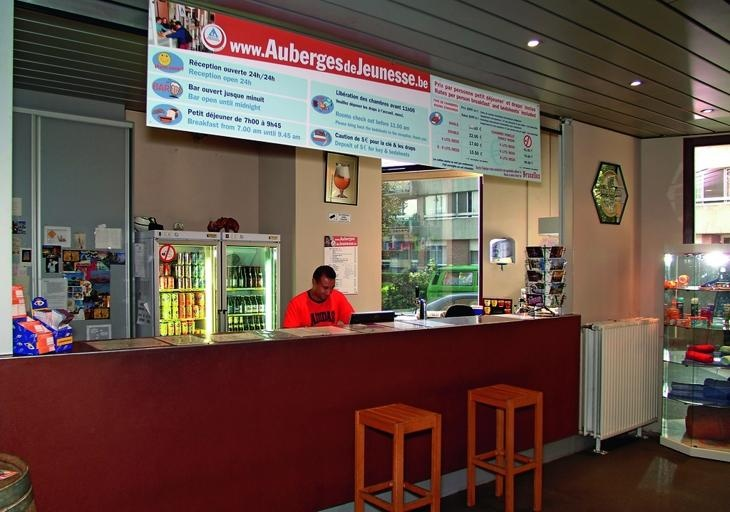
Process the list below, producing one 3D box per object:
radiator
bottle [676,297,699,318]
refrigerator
[{"bbox_3d":[2.660,1.388,5.772,1.367,1.330,0.359,0,3,-40],"label":"radiator"},{"bbox_3d":[3.441,0.549,5.837,0.080,0.229,0.220,0,-2,-28],"label":"bottle"},{"bbox_3d":[-1.708,0.297,5.773,1.071,1.154,0.416,1,-2,-22],"label":"refrigerator"}]
